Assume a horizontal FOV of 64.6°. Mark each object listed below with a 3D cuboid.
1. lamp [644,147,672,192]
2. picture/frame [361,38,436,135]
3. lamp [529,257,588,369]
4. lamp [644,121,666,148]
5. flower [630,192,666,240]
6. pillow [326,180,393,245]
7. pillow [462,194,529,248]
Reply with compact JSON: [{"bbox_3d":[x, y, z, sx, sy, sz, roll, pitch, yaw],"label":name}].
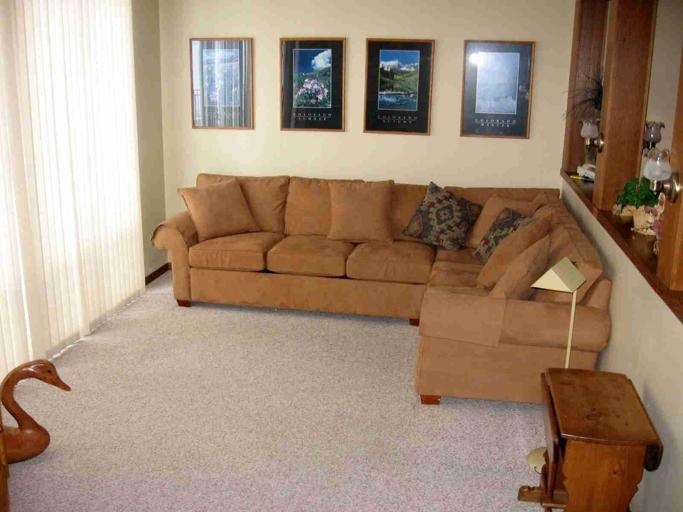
[{"bbox_3d":[1.512,-0.396,2.572,0.132,0.200,0.130,6,12,34],"label":"lamp"},{"bbox_3d":[0.566,-1.662,5.325,0.636,0.881,0.209,1,21,0],"label":"picture/frame"},{"bbox_3d":[1.240,0.351,3.060,0.292,0.773,0.256,17,43,27],"label":"lamp"},{"bbox_3d":[2.119,-0.825,3.676,0.114,0.174,0.220,11,23,26],"label":"lamp"},{"bbox_3d":[1.621,-0.198,2.855,0.225,0.207,0.108,4,-23,38],"label":"flower"},{"bbox_3d":[0.192,-0.401,4.970,0.649,0.535,0.184,2,-9,6],"label":"pillow"},{"bbox_3d":[1.325,-0.331,4.806,0.154,0.464,0.508,33,-7,-19],"label":"pillow"}]
